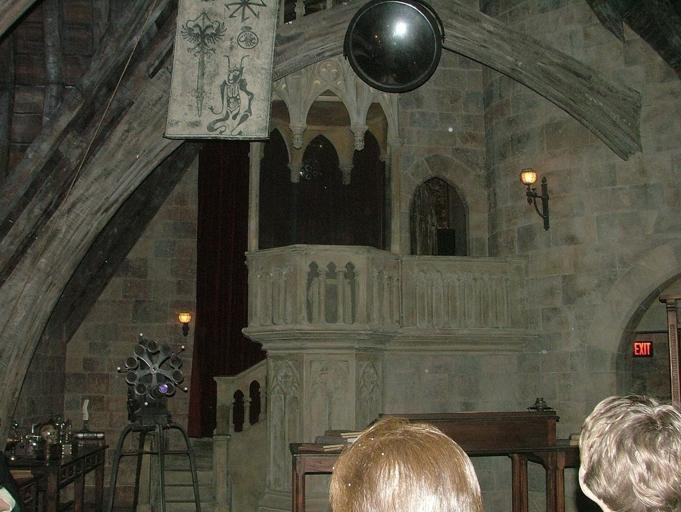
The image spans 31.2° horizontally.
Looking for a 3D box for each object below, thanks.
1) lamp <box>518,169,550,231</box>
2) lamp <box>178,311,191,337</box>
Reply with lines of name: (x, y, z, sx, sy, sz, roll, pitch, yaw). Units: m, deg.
lamp: (2.386, -0.715, 14.976, 0.293, 0.731, 0.424, -9, -17, 28)
lamp: (-2.140, 0.920, 16.631, 0.187, 0.333, 0.187, -1, -15, -1)
